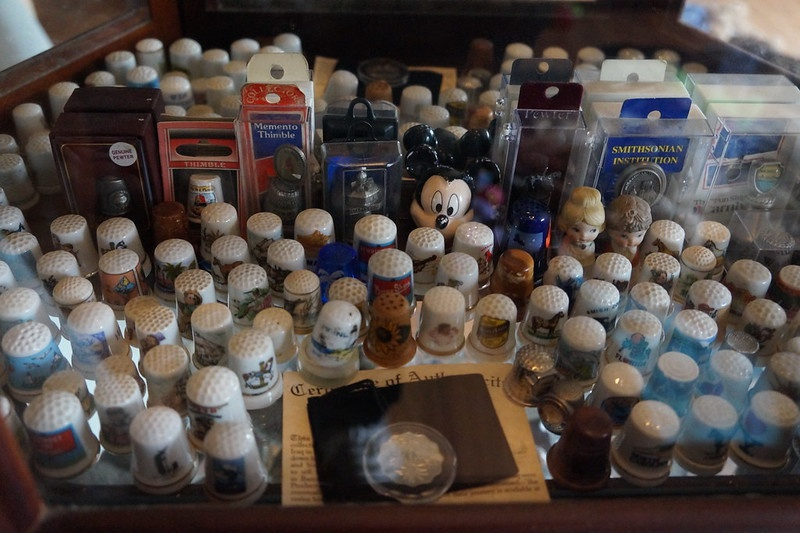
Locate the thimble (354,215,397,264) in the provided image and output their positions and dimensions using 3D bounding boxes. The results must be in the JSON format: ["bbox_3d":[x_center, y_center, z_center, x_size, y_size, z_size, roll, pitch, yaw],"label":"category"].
[{"bbox_3d":[-0.065,-0.081,1.600,0.119,0.125,0.118,-2,41,-6],"label":"thimble"}]

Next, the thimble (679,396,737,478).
[{"bbox_3d":[0.666,0.365,1.294,0.111,0.131,0.113,11,32,12],"label":"thimble"}]

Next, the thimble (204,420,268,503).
[{"bbox_3d":[-0.348,0.390,1.260,0.144,0.154,0.148,9,39,-3],"label":"thimble"}]

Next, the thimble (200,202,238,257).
[{"bbox_3d":[-0.481,-0.109,1.651,0.121,0.131,0.121,1,33,-17],"label":"thimble"}]

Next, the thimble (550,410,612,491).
[{"bbox_3d":[0.399,0.385,1.296,0.150,0.162,0.144,3,32,5],"label":"thimble"}]

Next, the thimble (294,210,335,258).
[{"bbox_3d":[-0.218,-0.098,1.624,0.120,0.154,0.116,1,34,-7],"label":"thimble"}]

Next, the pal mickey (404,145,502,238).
[{"bbox_3d":[0.154,-0.205,1.647,0.219,0.201,0.141,8,31,-6],"label":"pal mickey"}]
